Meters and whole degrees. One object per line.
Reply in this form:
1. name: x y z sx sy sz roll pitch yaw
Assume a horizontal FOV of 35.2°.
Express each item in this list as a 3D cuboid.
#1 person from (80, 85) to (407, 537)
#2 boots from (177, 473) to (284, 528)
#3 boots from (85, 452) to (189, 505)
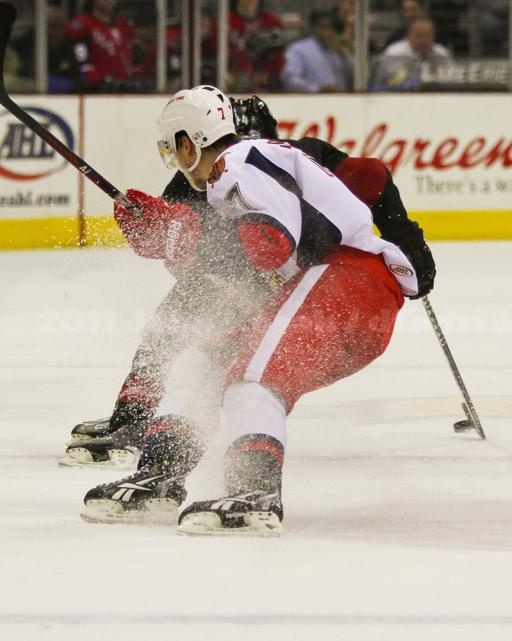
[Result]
1. person: 0.025 -0.097 1.915 0.706 1.010 0.865 1 5 9
2. boots: -0.051 0.364 1.566 0.202 0.113 0.079 0 5 -2
3. boots: -0.246 0.344 1.729 0.238 0.101 0.094 0 5 -10
